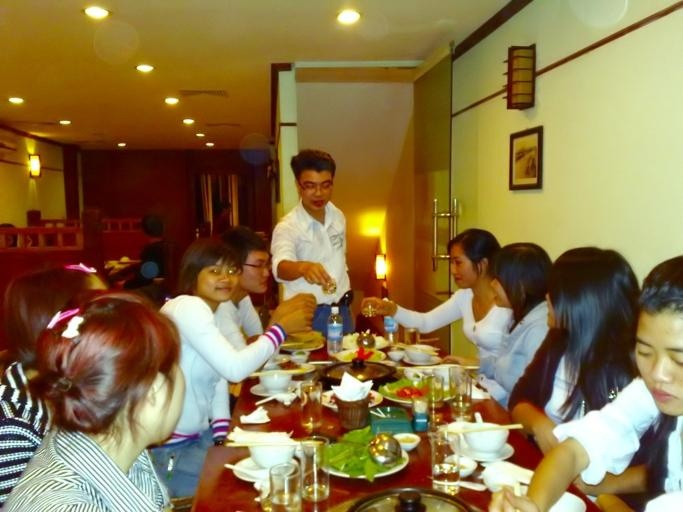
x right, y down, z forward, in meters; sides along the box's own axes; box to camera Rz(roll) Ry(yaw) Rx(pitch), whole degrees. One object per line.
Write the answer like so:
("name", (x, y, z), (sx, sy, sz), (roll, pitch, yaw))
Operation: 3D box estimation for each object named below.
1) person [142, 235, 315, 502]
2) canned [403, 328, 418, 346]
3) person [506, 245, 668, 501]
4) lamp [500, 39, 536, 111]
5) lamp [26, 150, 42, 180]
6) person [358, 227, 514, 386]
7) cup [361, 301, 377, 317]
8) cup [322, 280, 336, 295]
("person", (-0.568, 0.368, 2.976), (0.944, 1.776, 0.705), (-1, 10, -20))
("canned", (0.385, 0.454, 3.017), (0.073, 0.127, 0.075), (14, -18, -39))
("person", (0.942, 0.398, 2.603), (0.653, 1.242, 0.922), (0, 12, 10))
("lamp", (1.149, -1.164, 3.442), (0.187, 0.411, 0.155), (-1, 5, -1))
("lamp", (-5.235, -1.555, 9.116), (0.133, 0.431, 0.399), (-2, 5, -19))
("person", (0.556, 0.293, 3.492), (0.871, 1.471, 0.639), (-2, -3, -7))
("cup", (0.157, 0.322, 3.235), (0.078, 0.082, 0.081), (1, -9, 0))
("cup", (-0.075, 0.189, 3.156), (0.069, 0.088, 0.173), (-1, 5, -1))
